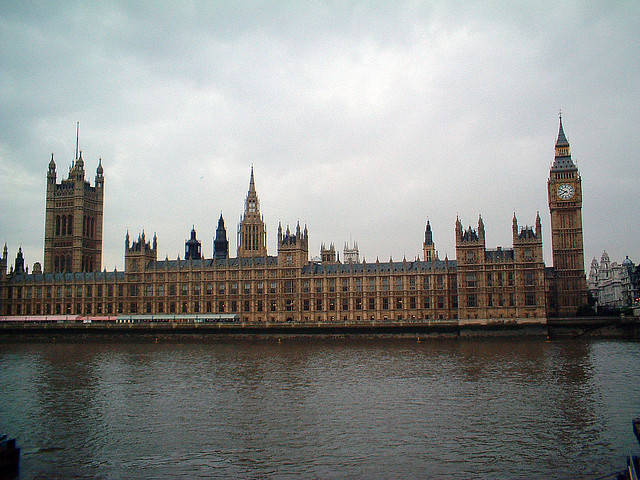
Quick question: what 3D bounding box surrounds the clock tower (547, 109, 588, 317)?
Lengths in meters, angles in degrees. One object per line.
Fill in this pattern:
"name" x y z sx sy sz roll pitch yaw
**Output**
"clock tower" 56.048 -5.949 185.279 10.572 46.585 10.240 -2 -2 -14
